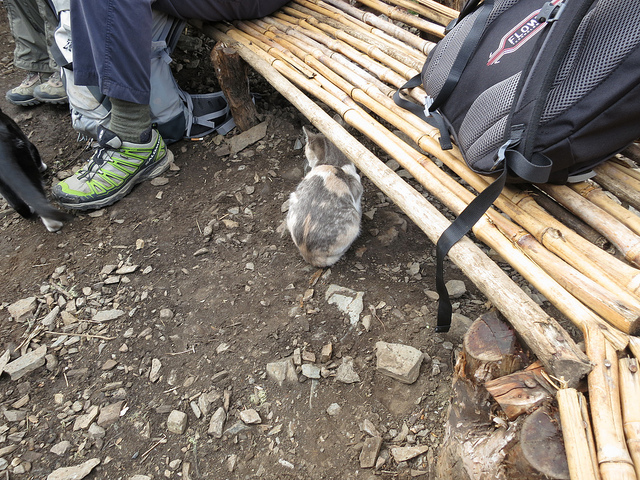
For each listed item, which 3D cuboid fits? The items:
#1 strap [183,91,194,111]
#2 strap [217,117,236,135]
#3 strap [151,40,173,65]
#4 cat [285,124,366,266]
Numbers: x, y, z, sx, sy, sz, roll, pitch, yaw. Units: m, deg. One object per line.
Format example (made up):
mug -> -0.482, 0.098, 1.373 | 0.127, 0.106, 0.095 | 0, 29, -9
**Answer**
strap -> -1.166, -1.246, 3.934 | 0.060, 0.119, 0.091 | -28, 105, -6
strap -> -0.865, -1.045, 4.140 | 0.236, 0.074, 0.090 | -46, 32, -9
strap -> -1.324, -1.547, 3.631 | 0.087, 0.193, 0.177 | 42, 65, 17
cat -> 0.028, -0.399, 3.380 | 0.575, 0.586, 1.204 | 3, 53, 1
